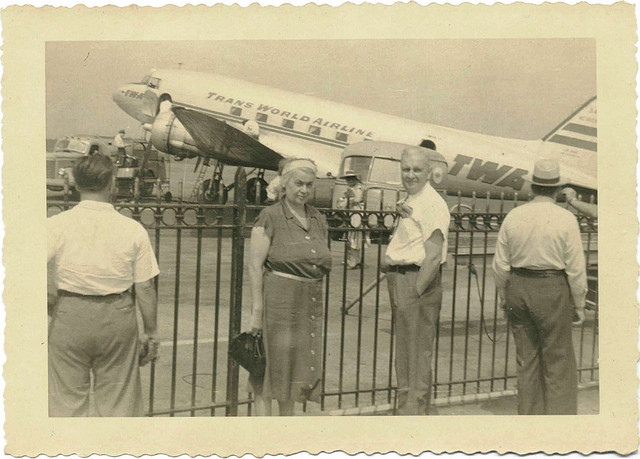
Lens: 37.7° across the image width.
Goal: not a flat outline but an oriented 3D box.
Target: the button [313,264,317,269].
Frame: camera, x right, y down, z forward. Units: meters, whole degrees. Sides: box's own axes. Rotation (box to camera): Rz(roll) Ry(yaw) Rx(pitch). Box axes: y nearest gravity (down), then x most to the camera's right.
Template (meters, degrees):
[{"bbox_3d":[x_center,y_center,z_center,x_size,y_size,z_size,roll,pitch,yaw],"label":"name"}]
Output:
[{"bbox_3d":[-0.051,0.384,9.829,0.037,0.029,0.017,-3,-17,-5],"label":"button"}]

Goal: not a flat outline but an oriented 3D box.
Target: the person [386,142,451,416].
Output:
[{"bbox_3d":[1.034,0.574,10.285,0.606,2.223,0.590,5,-2,4],"label":"person"}]

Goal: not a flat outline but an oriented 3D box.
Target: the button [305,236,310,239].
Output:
[{"bbox_3d":[-0.127,0.083,9.819,0.031,0.023,0.006,1,-10,-9],"label":"button"}]

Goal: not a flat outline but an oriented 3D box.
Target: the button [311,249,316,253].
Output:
[{"bbox_3d":[-0.062,0.222,9.808,0.049,0.026,0.004,4,-1,-18],"label":"button"}]

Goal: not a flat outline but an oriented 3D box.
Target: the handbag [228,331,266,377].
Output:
[{"bbox_3d":[-0.772,1.211,9.969,0.393,0.435,0.185,-19,45,-41],"label":"handbag"}]

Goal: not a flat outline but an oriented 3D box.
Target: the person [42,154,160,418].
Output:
[{"bbox_3d":[-2.202,0.588,9.576,1.193,2.403,0.458,5,-2,-9],"label":"person"}]

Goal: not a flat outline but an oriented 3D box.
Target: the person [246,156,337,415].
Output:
[{"bbox_3d":[-0.324,0.616,9.923,0.851,2.207,0.440,5,-2,-1],"label":"person"}]

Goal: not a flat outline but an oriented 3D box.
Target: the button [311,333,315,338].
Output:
[{"bbox_3d":[-0.072,1.112,9.935,0.072,0.050,0.020,-1,1,-13],"label":"button"}]

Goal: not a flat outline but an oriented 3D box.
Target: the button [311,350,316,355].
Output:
[{"bbox_3d":[-0.072,1.302,9.948,0.071,0.053,0.022,0,-4,-14],"label":"button"}]

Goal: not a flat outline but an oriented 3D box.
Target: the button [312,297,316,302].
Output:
[{"bbox_3d":[-0.062,0.733,9.891,0.063,0.047,0.013,1,2,-11],"label":"button"}]

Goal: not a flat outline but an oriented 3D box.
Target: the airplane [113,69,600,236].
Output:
[{"bbox_3d":[0.364,-1.616,17.702,4.974,1.479,5.581,9,6,7],"label":"airplane"}]

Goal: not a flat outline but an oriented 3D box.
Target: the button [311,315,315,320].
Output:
[{"bbox_3d":[-0.071,0.923,9.917,0.070,0.050,0.013,1,2,-12],"label":"button"}]

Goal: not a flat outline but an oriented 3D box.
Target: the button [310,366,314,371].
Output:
[{"bbox_3d":[-0.082,1.471,9.950,0.061,0.046,0.012,2,2,-11],"label":"button"}]
